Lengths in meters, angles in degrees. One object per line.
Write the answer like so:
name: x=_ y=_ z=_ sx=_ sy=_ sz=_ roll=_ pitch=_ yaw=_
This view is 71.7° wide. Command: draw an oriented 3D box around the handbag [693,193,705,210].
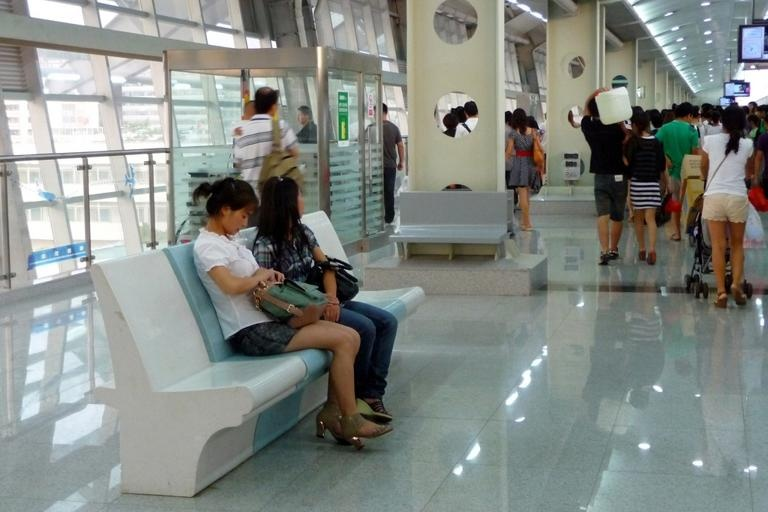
handbag: x=3.470 y=-0.589 z=5.848 sx=0.061 sy=0.200 sz=0.213 roll=2 pitch=10 yaw=17

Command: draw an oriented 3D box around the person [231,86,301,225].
person: x=-1.524 y=-1.173 z=6.144 sx=0.753 sy=0.541 sz=1.738 roll=-3 pitch=-36 yaw=-23

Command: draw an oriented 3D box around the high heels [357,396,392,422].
high heels: x=-0.061 y=0.938 z=3.234 sx=0.292 sy=0.116 sz=0.100 roll=3 pitch=4 yaw=35

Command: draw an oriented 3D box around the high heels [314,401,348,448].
high heels: x=-0.300 y=0.976 z=3.116 sx=0.254 sy=0.172 sz=0.089 roll=20 pitch=-19 yaw=-34

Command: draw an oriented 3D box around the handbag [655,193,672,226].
handbag: x=5.216 y=-0.873 z=9.922 sx=0.246 sy=0.731 sz=0.515 roll=10 pitch=-7 yaw=24

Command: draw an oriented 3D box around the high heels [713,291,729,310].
high heels: x=3.614 y=0.465 z=5.696 sx=0.115 sy=0.082 sz=0.207 roll=-2 pitch=5 yaw=12

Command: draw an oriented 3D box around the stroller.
stroller: x=3.831 y=-0.134 z=6.133 sx=0.674 sy=1.105 sz=0.809 roll=1 pitch=0 yaw=25

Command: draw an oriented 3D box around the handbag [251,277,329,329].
handbag: x=-0.544 y=0.218 z=2.953 sx=0.338 sy=0.151 sz=0.257 roll=17 pitch=16 yaw=28

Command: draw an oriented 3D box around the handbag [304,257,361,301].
handbag: x=-0.296 y=0.137 z=3.536 sx=0.349 sy=0.335 sz=0.233 roll=-3 pitch=17 yaw=17

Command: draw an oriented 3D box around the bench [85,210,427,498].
bench: x=-0.703 y=0.534 z=3.674 sx=0.938 sy=1.168 sz=2.433 roll=-3 pitch=4 yaw=13

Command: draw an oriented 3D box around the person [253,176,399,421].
person: x=-0.405 y=0.263 z=3.368 sx=0.858 sy=1.470 sz=0.567 roll=9 pitch=20 yaw=23

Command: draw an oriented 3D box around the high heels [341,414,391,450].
high heels: x=-0.102 y=0.936 z=2.952 sx=0.313 sy=0.128 sz=0.107 roll=-23 pitch=-8 yaw=36
